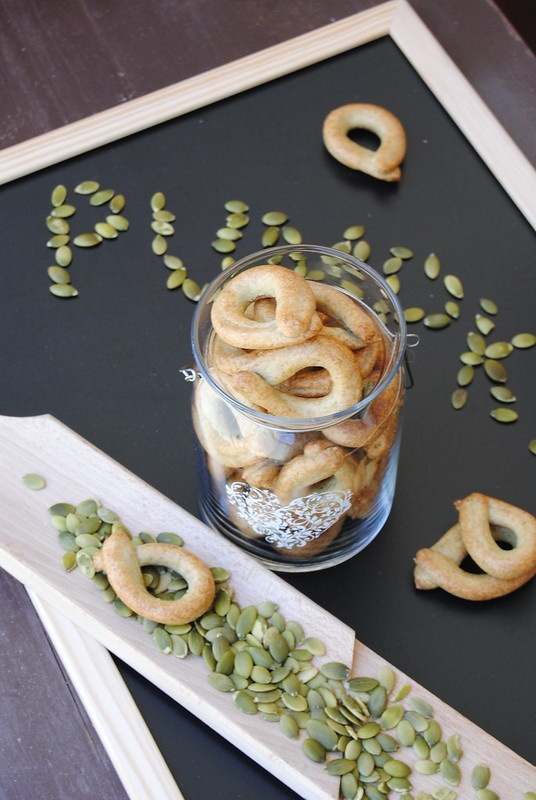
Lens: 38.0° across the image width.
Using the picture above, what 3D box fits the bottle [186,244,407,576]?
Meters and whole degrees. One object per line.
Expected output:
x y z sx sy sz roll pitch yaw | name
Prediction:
0.029 0.021 0.666 0.162 0.257 0.155 0 53 0 | bottle

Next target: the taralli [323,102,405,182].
0.124 -0.321 0.977 0.078 0.060 0.109 -29 52 -21 | taralli

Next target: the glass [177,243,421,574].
0.028 0.024 0.671 0.157 0.261 0.156 -29 57 -22 | glass
